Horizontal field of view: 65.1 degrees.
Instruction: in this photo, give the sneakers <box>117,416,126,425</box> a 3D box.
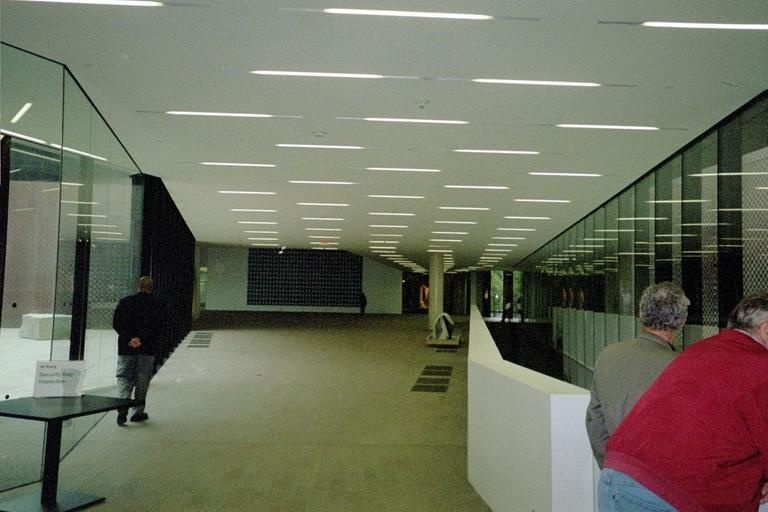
[{"bbox_3d":[-4.095,2.566,9.386,0.107,0.142,0.146,6,3,-1],"label":"sneakers"}]
